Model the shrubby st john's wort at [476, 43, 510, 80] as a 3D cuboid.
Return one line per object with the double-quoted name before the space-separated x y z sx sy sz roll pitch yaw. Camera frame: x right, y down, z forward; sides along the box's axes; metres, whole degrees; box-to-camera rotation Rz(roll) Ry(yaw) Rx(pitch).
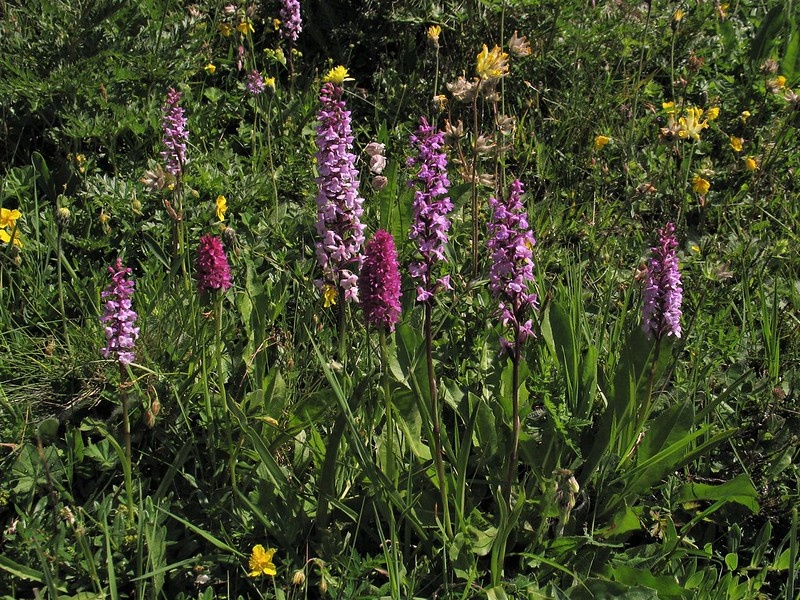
"shrubby st john's wort" 0.460 -1.175 3.843 0.143 0.188 0.278 7 12 8
